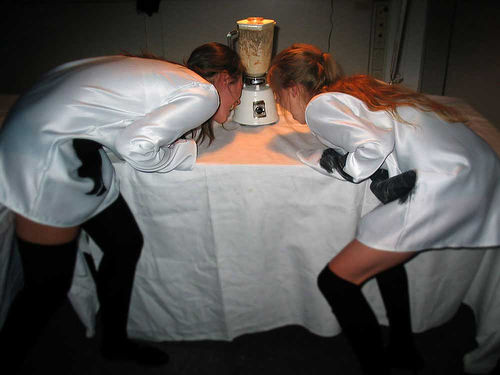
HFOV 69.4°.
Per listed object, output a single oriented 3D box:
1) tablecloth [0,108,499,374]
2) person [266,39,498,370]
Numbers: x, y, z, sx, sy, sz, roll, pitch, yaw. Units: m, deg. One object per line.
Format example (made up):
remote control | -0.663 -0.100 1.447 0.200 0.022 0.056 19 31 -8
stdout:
tablecloth | 0.089 0.298 1.431 1.467 0.393 1.021 2 52 2
person | 0.375 0.051 1.195 0.471 0.884 0.752 -26 38 -37
